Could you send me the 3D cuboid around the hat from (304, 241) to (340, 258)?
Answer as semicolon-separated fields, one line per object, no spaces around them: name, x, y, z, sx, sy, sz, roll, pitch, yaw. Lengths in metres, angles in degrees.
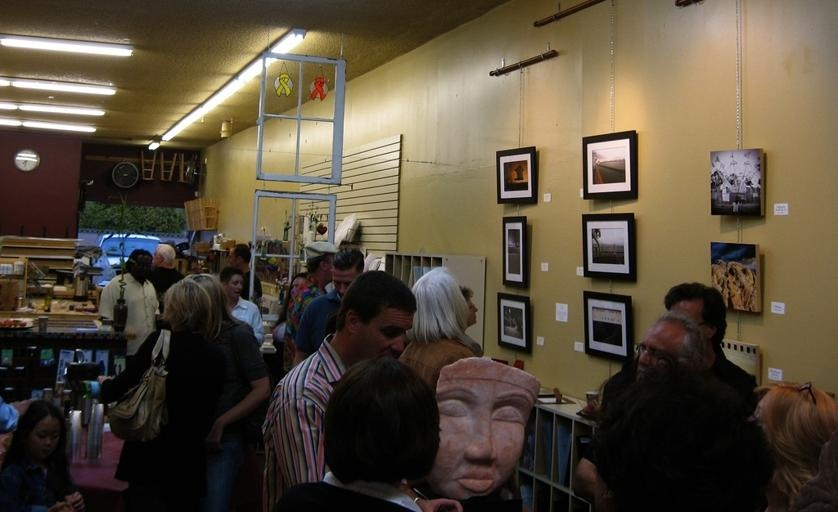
hat;-0.940;-0.062;5.744;0.224;0.101;0.281;1;-2;-12

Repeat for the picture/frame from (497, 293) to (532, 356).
picture/frame;1.101;0.766;6.771;0.050;0.664;0.704;0;8;-30

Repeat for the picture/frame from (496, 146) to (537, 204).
picture/frame;1.112;-0.912;6.810;0.047;0.645;0.666;-4;4;-33

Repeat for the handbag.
handbag;-1.759;0.932;3.737;0.323;0.404;0.123;2;-1;-3

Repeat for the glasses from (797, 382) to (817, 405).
glasses;1.784;0.632;2.729;0.060;0.084;0.028;-18;-4;24

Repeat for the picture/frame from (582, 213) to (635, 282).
picture/frame;1.861;-0.091;5.786;0.053;0.603;0.658;3;3;-37

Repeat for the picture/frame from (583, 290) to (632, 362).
picture/frame;1.834;0.673;5.738;0.057;0.760;0.723;1;-2;-31

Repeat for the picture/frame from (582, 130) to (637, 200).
picture/frame;1.870;-0.887;5.782;0.047;0.655;0.696;0;-2;-41
